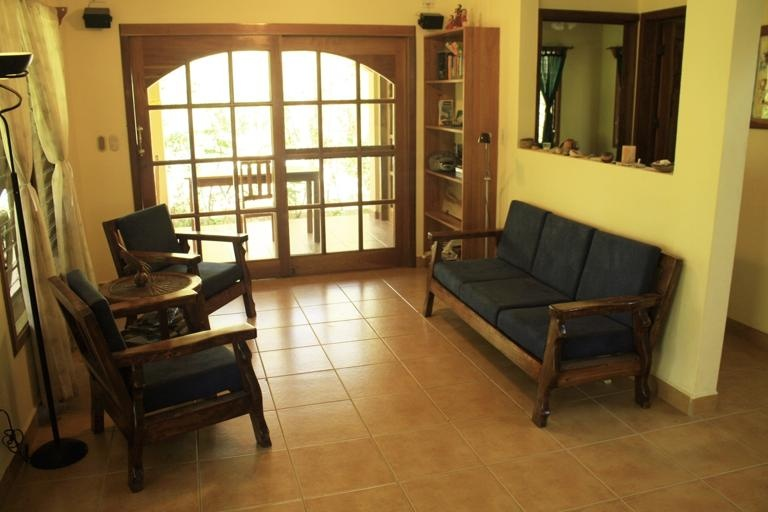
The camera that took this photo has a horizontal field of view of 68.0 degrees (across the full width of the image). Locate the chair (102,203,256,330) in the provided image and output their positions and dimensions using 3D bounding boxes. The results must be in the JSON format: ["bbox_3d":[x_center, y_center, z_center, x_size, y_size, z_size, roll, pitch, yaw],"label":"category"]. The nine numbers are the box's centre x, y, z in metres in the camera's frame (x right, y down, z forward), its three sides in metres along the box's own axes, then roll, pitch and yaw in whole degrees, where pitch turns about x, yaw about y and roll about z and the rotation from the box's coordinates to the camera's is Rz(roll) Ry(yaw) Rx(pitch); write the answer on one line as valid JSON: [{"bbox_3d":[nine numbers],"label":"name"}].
[{"bbox_3d":[-1.923,0.154,5.460,1.094,1.083,0.959,4,19,7],"label":"chair"}]

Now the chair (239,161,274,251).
[{"bbox_3d":[-1.426,-0.607,6.446,0.484,1.067,0.506,-3,0,-28],"label":"chair"}]

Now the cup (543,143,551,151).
[{"bbox_3d":[1.614,-1.084,5.615,0.087,0.068,0.092,0,1,0],"label":"cup"}]

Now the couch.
[{"bbox_3d":[1.285,0.325,5.111,1.184,1.130,2.380,-11,19,-14],"label":"couch"}]

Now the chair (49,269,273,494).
[{"bbox_3d":[-1.613,0.741,4.094,1.244,1.169,1.180,-5,14,-36],"label":"chair"}]
